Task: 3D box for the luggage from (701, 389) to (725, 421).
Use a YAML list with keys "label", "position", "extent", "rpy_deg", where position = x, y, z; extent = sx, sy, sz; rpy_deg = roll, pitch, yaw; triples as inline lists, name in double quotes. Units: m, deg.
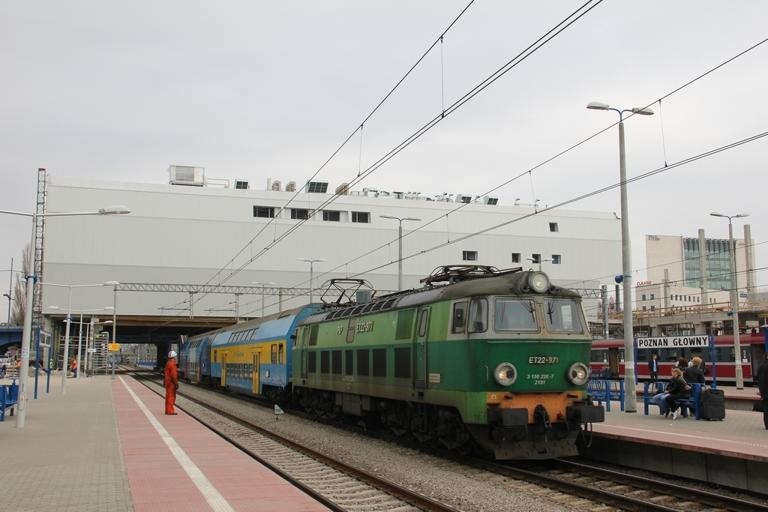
- label: "luggage"
  position: [11.027, 4.957, 22.201]
  extent: [0.807, 1.033, 0.327]
  rpy_deg: [1, -2, -13]
